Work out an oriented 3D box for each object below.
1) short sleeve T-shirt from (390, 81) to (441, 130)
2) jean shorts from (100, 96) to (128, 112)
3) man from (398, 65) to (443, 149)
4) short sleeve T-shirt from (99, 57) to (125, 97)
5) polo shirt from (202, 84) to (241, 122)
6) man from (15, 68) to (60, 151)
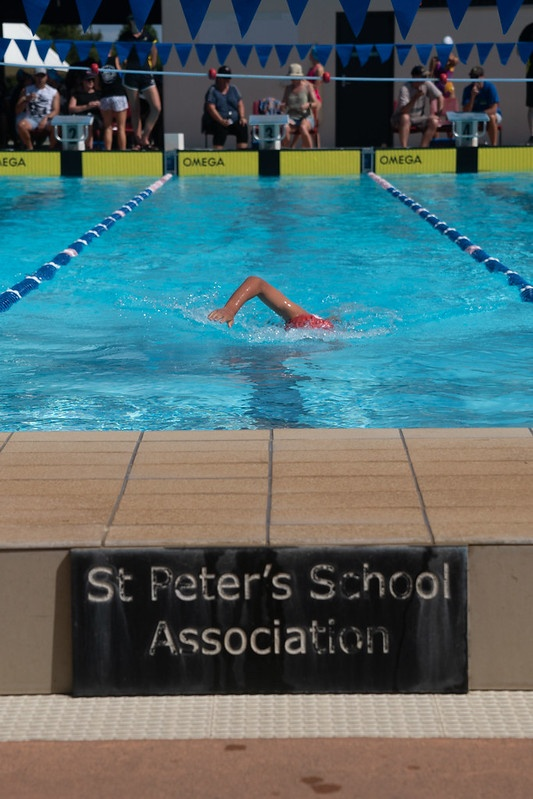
[{"bbox_3d":[1.523,-2.950,9.926,0.509,0.513,0.390,-8,36,-11],"label":"short sleeve T-shirt"},{"bbox_3d":[-1.460,-2.803,9.333,0.277,0.186,0.168,3,15,5],"label":"jean shorts"},{"bbox_3d":[1.533,-2.947,9.914,0.483,0.806,1.132,3,18,8],"label":"man"},{"bbox_3d":[-1.452,-3.032,9.274,0.221,0.373,0.567,-1,18,-7],"label":"short sleeve T-shirt"},{"bbox_3d":[-0.422,-2.949,9.816,0.400,0.356,0.254,-6,20,-20],"label":"polo shirt"},{"bbox_3d":[-2.345,-2.961,10.049,0.432,0.776,0.800,-4,19,-13],"label":"man"}]
